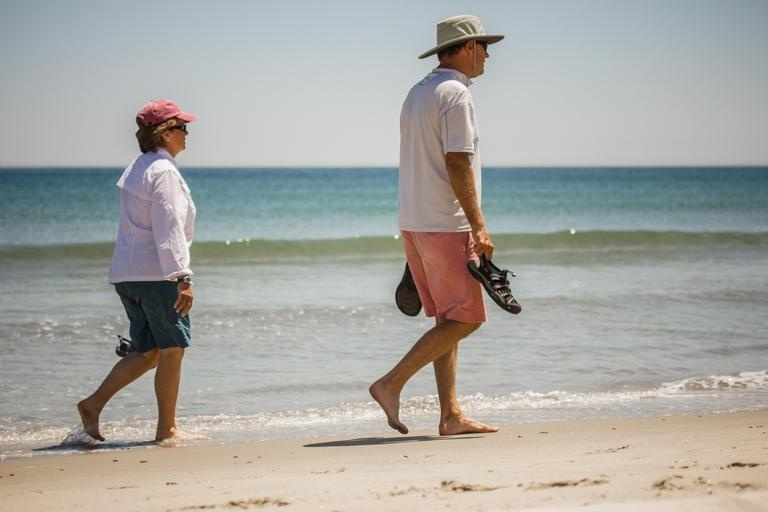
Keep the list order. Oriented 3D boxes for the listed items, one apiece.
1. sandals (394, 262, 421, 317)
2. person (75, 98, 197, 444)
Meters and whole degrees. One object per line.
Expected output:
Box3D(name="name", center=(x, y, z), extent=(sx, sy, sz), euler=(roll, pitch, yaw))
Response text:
Box3D(name="sandals", center=(0.271, 0.347, 15.829), extent=(0.256, 0.596, 0.263), euler=(-5, 7, -1))
Box3D(name="person", center=(-2.610, 0.156, 15.577), extent=(1.271, 3.672, 0.770), euler=(-3, 10, -7))
